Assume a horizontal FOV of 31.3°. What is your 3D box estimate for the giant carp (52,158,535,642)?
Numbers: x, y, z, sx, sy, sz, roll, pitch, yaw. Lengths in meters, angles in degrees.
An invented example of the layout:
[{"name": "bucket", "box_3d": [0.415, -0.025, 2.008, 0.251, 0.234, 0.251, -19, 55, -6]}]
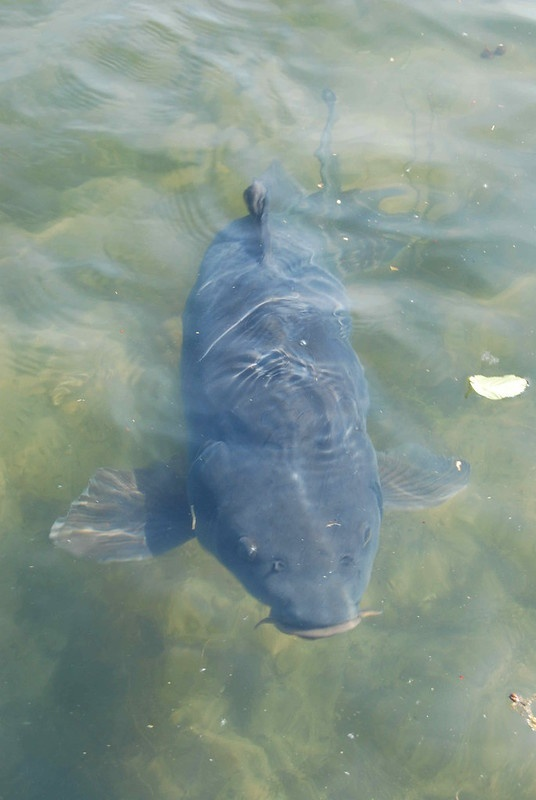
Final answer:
[{"name": "giant carp", "box_3d": [-0.065, 0.137, 5.833, 2.003, 0.876, 2.388, -2, 59, -8]}]
